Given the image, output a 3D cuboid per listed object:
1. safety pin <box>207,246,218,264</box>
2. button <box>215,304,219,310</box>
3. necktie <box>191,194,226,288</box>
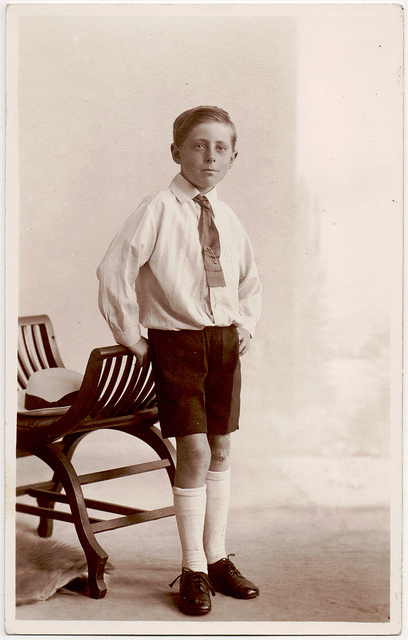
[{"bbox_3d":[0.024,-0.186,2.200,0.016,0.058,0.016,-22,-3,-10],"label":"safety pin"},{"bbox_3d":[0.035,-0.039,2.188,0.004,0.013,0.012,12,17,43],"label":"button"},{"bbox_3d":[0.011,-0.227,2.217,0.076,0.250,0.145,-2,13,-7],"label":"necktie"}]
